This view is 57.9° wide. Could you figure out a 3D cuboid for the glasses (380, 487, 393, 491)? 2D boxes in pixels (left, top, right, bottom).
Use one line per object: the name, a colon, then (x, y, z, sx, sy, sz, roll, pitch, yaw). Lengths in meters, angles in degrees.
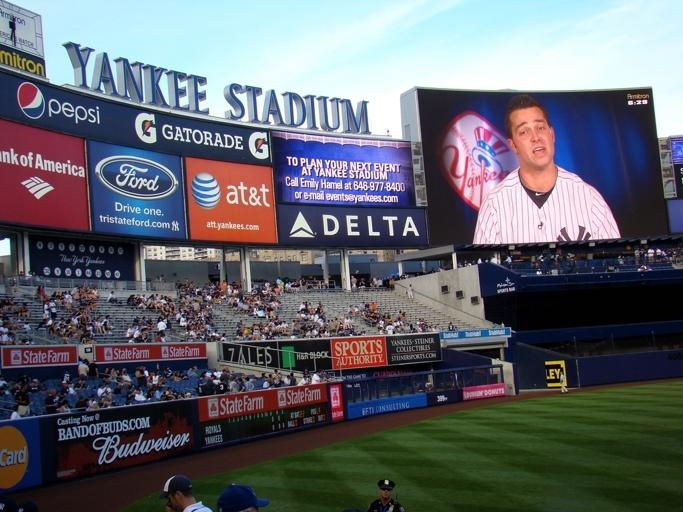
glasses: (0.721, 3.649, 9.661, 0.134, 0.054, 0.141, 2, -13, -2)
